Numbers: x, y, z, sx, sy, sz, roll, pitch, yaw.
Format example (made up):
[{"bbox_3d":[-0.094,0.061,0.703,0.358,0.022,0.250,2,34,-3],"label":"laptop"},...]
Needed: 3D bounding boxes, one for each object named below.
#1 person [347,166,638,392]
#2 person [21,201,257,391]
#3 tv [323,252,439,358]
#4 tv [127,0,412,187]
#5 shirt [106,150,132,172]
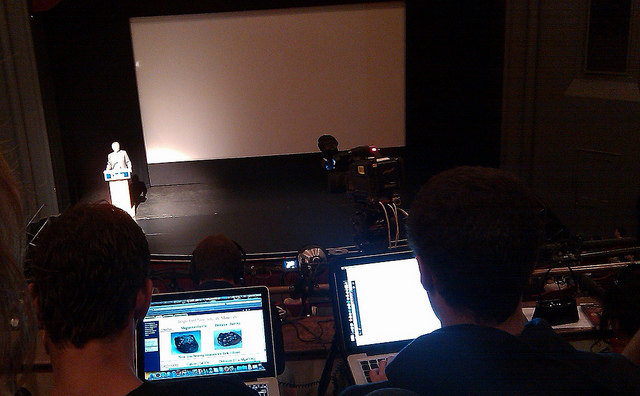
[{"bbox_3d":[0.651,0.343,2.414,1.004,0.805,0.925,-6,13,-13],"label":"person"},{"bbox_3d":[-0.697,0.401,2.355,0.906,0.829,0.723,-12,29,-14],"label":"person"},{"bbox_3d":[0.309,0.530,2.787,0.697,0.413,0.478,-9,23,-8],"label":"tv"},{"bbox_3d":[-0.856,-1.769,9.426,4.703,3.018,0.355,-5,12,2],"label":"tv"},{"bbox_3d":[-3.095,-0.568,8.314,0.524,0.392,0.195,0,5,-12],"label":"shirt"}]
